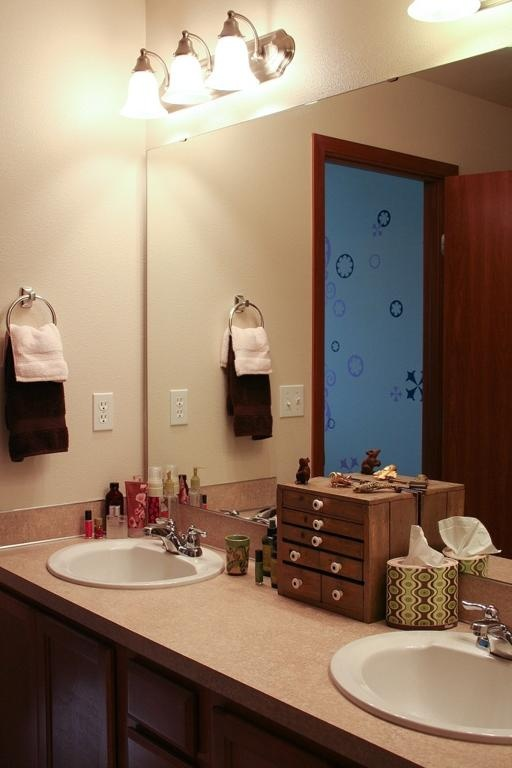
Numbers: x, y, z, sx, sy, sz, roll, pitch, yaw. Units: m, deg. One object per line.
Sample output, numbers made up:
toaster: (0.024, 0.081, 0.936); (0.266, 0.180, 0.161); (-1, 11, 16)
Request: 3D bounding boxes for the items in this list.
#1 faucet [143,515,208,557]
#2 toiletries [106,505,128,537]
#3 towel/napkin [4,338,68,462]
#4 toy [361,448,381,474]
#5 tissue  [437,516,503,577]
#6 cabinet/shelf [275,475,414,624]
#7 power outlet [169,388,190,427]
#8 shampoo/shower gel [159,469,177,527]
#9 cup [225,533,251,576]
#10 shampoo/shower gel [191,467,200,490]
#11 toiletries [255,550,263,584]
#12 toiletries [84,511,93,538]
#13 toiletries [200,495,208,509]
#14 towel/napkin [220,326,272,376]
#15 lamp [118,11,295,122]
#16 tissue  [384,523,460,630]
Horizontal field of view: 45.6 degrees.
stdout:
faucet: (-0.237, 0.406, 1.634); (0.101, 0.085, 0.275); (-4, 3, -30)
toiletries: (-0.418, 0.413, 1.819); (0.057, 0.086, 0.054); (-3, 3, -5)
towel/napkin: (-0.590, 0.046, 1.633); (0.068, 0.327, 0.175); (-1, 3, 37)
toy: (0.237, 0.162, 1.265); (0.041, 0.054, 0.021); (-2, 3, 16)
tissue : (0.384, 0.317, 1.133); (0.103, 0.126, 0.069); (-3, -16, 28)
cabinet/shelf: (0.177, 0.325, 1.260); (0.230, 0.242, 0.176); (2, 3, 41)
power outlet: (-0.240, 0.075, 1.897); (0.072, 0.116, 0.013); (-1, 3, 33)
shampoo/shower gel: (-0.263, 0.357, 1.895); (0.056, 0.147, 0.057); (12, 0, -26)
cup: (-0.044, 0.416, 1.473); (0.053, 0.097, 0.057); (-2, 3, 0)
shampoo/shower gel: (-0.180, 0.285, 1.820); (0.013, 0.065, 0.045); (-4, 3, -30)
toiletries: (0.006, 0.417, 1.397); (0.020, 0.085, 0.042); (-2, 3, 0)
toiletries: (-0.498, 0.414, 1.817); (0.030, 0.083, 0.056); (-3, 3, -17)
toiletries: (-0.152, 0.343, 1.779); (0.012, 0.039, 0.039); (-4, 3, -28)
towel/napkin: (-0.019, -0.093, 1.658); (0.119, 0.136, 0.047); (-2, -7, -5)
lamp: (-0.173, -0.875, 1.667); (0.574, 0.194, 0.155); (9, 14, 43)
tissue : (0.299, 0.348, 1.108); (0.113, 0.183, 0.101); (-2, -10, 27)
